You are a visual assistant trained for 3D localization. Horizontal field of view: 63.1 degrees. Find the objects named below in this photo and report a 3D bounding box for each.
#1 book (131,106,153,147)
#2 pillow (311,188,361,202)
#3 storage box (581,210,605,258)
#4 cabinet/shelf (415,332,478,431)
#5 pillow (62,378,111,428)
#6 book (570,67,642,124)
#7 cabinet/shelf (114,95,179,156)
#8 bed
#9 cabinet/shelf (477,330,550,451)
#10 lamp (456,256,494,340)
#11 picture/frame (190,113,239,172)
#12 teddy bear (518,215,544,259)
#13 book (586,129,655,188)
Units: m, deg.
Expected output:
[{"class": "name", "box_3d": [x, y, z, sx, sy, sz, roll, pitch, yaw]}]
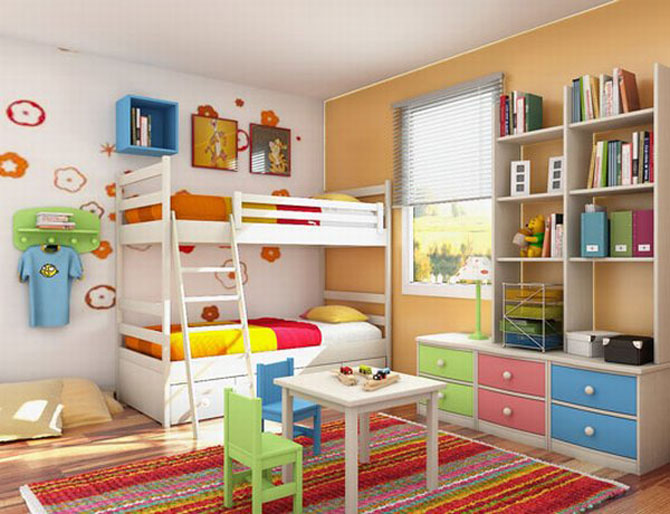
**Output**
[{"class": "book", "box_3d": [-1.756, -1.169, 4.940, 0.234, 0.383, 0.418, -1, 3, -26]}, {"class": "pillow", "box_3d": [0.069, -0.588, 5.371, 0.285, 0.072, 0.264, 3, 0, -40]}, {"class": "storage box", "box_3d": [1.799, -0.160, 3.807, 0.157, 0.323, 0.160, -2, 3, 0]}, {"class": "cabinet/shelf", "box_3d": [0.969, 0.988, 4.609, 0.582, 0.708, 0.765, 2, -1, -28]}, {"class": "pillow", "box_3d": [-2.074, 1.177, 4.468, 0.313, 0.109, 0.399, 3, 9, -32]}, {"class": "book", "box_3d": [1.878, -1.099, 3.777, 0.259, 0.410, 0.470, 5, -7, -42]}, {"class": "cabinet/shelf", "box_3d": [-1.724, -1.185, 5.015, 0.292, 0.439, 0.505, 4, 5, 42]}, {"class": "bed", "box_3d": [-0.756, 0.291, 4.763, 2.634, 2.090, 1.478, 0, -1, -37]}, {"class": "cabinet/shelf", "box_3d": [1.353, 0.976, 4.250, 0.563, 0.749, 0.820, 4, -5, -33]}, {"class": "lamp", "box_3d": [1.191, 0.335, 4.668, 0.269, 0.662, 0.532, -1, 3, 12]}, {"class": "picture/frame", "box_3d": [-1.239, -1.150, 5.491, 0.657, 0.609, 0.065, 3, -6, -43]}, {"class": "teddy bear", "box_3d": [1.512, -0.141, 4.222, 0.227, 0.303, 0.196, 3, -1, -18]}, {"class": "book", "box_3d": [1.946, -0.655, 3.708, 0.269, 0.418, 0.462, 8, -8, -41]}]
